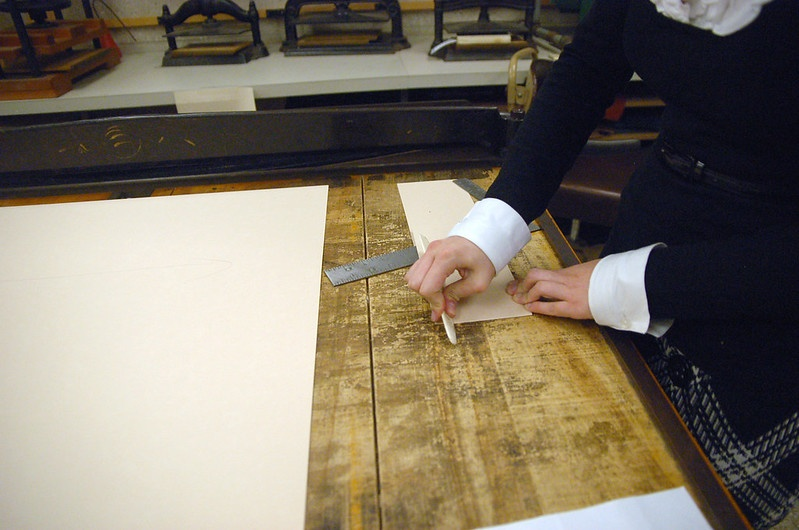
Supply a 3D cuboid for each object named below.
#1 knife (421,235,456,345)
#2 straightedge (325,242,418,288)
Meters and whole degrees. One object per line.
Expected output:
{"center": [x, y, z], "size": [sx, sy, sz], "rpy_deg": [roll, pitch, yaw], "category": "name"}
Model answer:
{"center": [0.092, 0.055, 1.417], "size": [0.051, 0.006, 0.328], "rpy_deg": [-7, 51, -5], "category": "knife"}
{"center": [-0.063, 0.014, 1.520], "size": [0.345, 0.012, 0.087], "rpy_deg": [-16, 59, -18], "category": "straightedge"}
